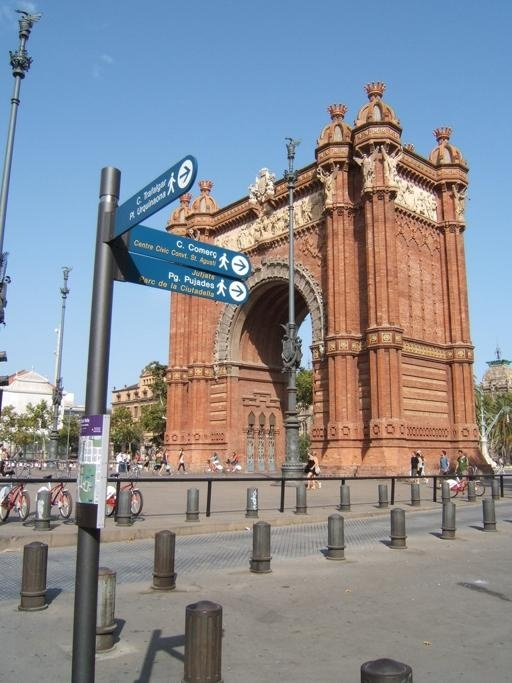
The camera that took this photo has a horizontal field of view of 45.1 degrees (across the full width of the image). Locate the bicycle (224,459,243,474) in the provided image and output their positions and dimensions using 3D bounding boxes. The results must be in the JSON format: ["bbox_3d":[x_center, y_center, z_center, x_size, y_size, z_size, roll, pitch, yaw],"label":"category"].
[{"bbox_3d":[-1.484,8.034,39.620,1.044,0.688,0.642,-12,-29,36],"label":"bicycle"}]

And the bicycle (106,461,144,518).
[{"bbox_3d":[-3.176,3.787,14.949,0.867,0.906,2.309,2,-10,-11],"label":"bicycle"}]

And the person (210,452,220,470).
[{"bbox_3d":[-2.616,7.768,39.931,0.692,1.079,1.366,1,-10,-4],"label":"person"}]

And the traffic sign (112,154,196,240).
[{"bbox_3d":[-0.626,-0.880,3.810,0.737,0.424,0.179,-8,-13,39],"label":"traffic sign"}]
